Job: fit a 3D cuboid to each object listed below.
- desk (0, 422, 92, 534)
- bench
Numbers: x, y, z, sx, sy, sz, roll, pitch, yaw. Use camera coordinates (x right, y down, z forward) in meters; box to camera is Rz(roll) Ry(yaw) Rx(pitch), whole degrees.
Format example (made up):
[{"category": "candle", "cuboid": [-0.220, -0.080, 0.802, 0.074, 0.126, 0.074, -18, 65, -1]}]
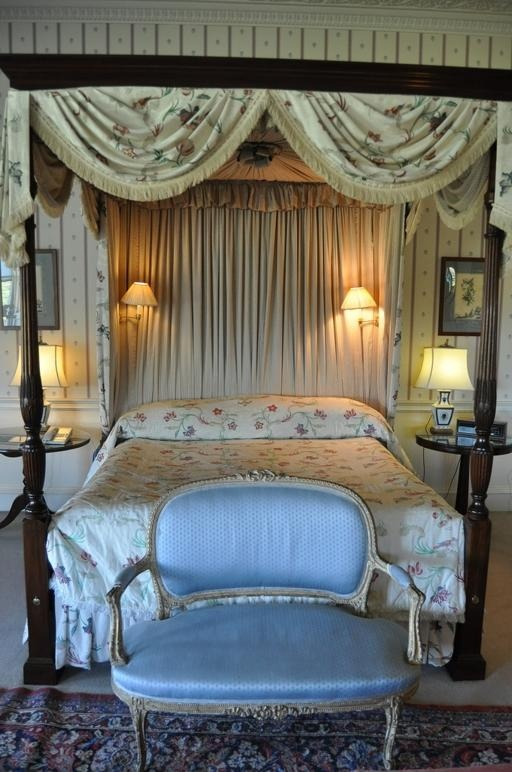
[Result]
[{"category": "desk", "cuboid": [-1.384, 0.663, 3.993, 0.694, 0.553, 0.717, -2, 15, -16]}, {"category": "bench", "cuboid": [0.017, 0.689, 1.984, 1.056, 0.970, 0.714, -1, 3, -2]}]
